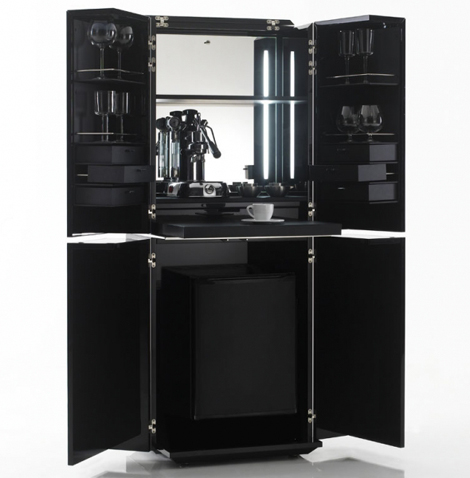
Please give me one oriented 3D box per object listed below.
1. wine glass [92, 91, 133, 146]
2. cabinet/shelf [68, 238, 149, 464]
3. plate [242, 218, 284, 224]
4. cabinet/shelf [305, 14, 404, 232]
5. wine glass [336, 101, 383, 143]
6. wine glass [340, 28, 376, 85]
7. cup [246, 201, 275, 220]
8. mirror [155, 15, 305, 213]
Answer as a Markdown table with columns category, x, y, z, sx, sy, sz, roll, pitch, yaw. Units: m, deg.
| category | x | y | z | sx | sy | sz | roll | pitch | yaw |
| --- | --- | --- | --- | --- | --- | --- | --- | --- | --- |
| wine glass | -0.526 | -0.520 | 2.717 | 0.189 | 0.360 | 0.108 | 0 | 7 | -6 |
| cabinet/shelf | -0.497 | 0.480 | 2.732 | 0.372 | 0.981 | 0.308 | -5 | 10 | -34 |
| plate | 0.118 | -0.078 | 2.703 | 0.181 | 0.015 | 0.156 | 0 | 4 | 0 |
| cabinet/shelf | 0.540 | -0.438 | 2.862 | 0.373 | 1.079 | 0.290 | 0 | -22 | 12 |
| wine glass | 0.573 | -0.527 | 2.868 | 0.195 | 0.189 | 0.136 | 0 | 6 | 2 |
| wine glass | 0.551 | -0.851 | 2.889 | 0.152 | 0.195 | 0.088 | 2 | 4 | 36 |
| cup | 0.101 | -0.114 | 2.717 | 0.135 | 0.072 | 0.071 | 4 | 5 | 42 |
| mirror | 0.001 | -0.784 | 3.356 | 0.767 | 0.545 | 1.518 | 2 | -27 | 3 |
